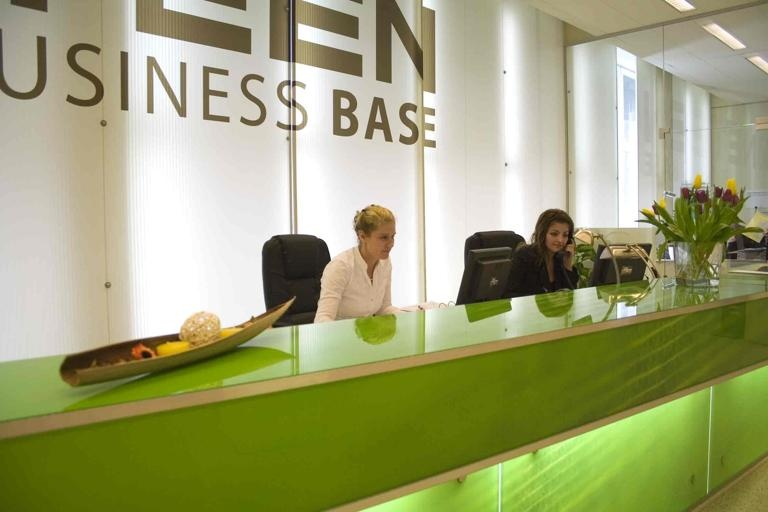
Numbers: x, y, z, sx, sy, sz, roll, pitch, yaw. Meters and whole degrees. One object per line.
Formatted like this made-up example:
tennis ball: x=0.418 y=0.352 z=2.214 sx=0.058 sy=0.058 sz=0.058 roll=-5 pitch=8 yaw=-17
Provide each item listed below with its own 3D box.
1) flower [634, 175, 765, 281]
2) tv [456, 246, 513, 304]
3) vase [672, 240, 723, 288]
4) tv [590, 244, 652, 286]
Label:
flower: x=1.921 y=-0.173 z=3.409 sx=0.574 sy=0.658 sz=0.235 roll=5 pitch=15 yaw=15
tv: x=0.623 y=0.117 z=3.340 sx=0.421 sy=0.418 sz=0.145 roll=-3 pitch=20 yaw=-39
vase: x=1.987 y=0.029 z=3.498 sx=0.277 sy=0.307 sz=0.304 roll=-8 pitch=6 yaw=-25
tv: x=1.631 y=0.061 z=3.752 sx=0.364 sy=0.368 sz=0.209 roll=0 pitch=18 yaw=18
